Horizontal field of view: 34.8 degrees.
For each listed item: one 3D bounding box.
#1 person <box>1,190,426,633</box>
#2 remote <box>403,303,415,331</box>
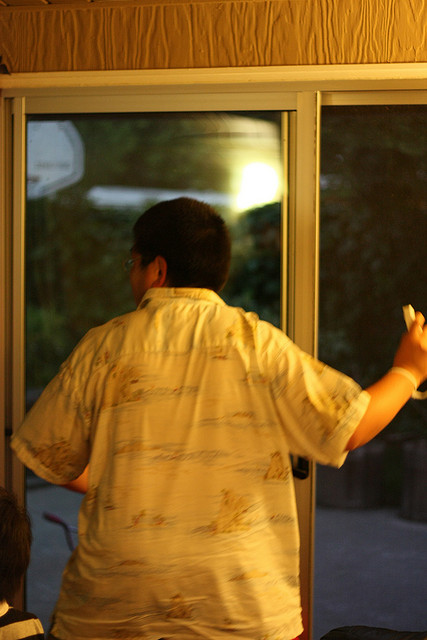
[{"bbox_3d":[-0.014,0.213,1.342,0.778,0.870,0.369,9,17,10],"label":"person"},{"bbox_3d":[0.436,-0.009,1.526,0.022,0.072,0.079,3,-5,13],"label":"remote"}]
